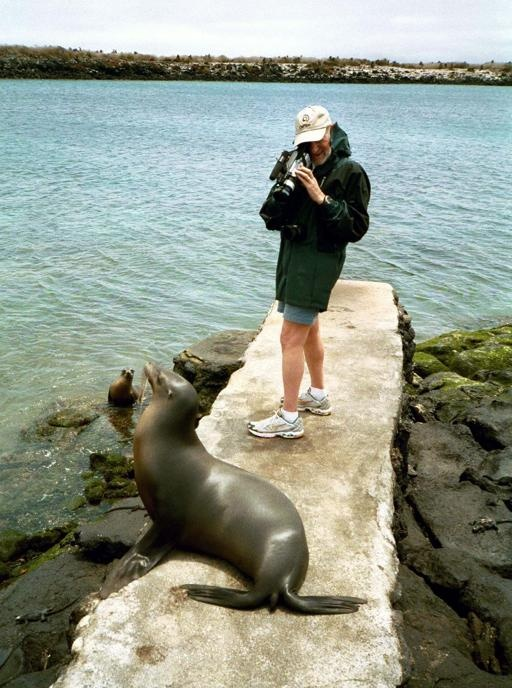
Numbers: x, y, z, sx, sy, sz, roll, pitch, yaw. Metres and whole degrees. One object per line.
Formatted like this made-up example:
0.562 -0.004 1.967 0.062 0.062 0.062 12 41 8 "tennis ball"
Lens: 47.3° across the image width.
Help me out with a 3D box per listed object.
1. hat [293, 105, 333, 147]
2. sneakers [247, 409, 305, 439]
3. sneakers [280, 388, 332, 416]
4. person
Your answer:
0.327 -1.259 3.323 0.170 0.137 0.251 3 45 32 "hat"
0.126 0.538 3.954 0.415 0.176 0.155 1 9 1 "sneakers"
0.340 0.414 4.320 0.422 0.193 0.162 4 8 16 "sneakers"
0.337 -0.352 3.649 0.629 2.091 0.680 13 29 23 "person"
